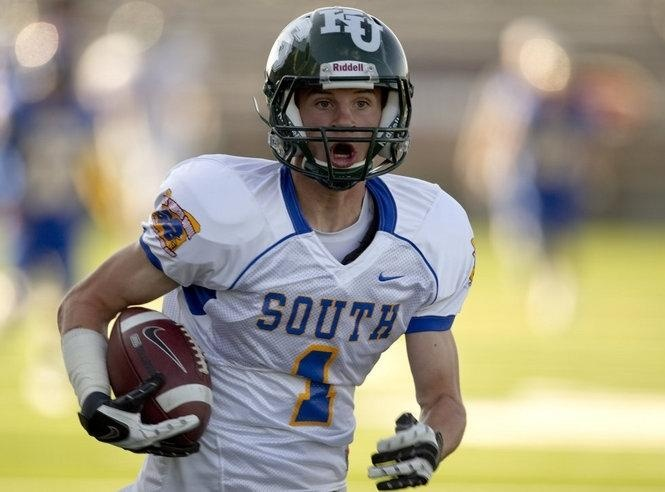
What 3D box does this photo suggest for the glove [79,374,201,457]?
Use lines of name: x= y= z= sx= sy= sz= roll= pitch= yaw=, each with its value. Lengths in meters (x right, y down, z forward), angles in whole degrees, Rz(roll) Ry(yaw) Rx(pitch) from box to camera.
glove: x=-0.772 y=0.706 z=4.204 sx=0.354 sy=0.165 sz=0.350 roll=-15 pitch=41 yaw=-42

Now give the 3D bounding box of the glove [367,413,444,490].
glove: x=0.295 y=0.852 z=4.253 sx=0.290 sy=0.280 sz=0.131 roll=-20 pitch=-11 yaw=7

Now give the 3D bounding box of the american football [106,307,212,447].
american football: x=-0.669 y=0.545 z=4.409 sx=0.546 sy=0.342 sz=0.378 roll=58 pitch=18 yaw=18
